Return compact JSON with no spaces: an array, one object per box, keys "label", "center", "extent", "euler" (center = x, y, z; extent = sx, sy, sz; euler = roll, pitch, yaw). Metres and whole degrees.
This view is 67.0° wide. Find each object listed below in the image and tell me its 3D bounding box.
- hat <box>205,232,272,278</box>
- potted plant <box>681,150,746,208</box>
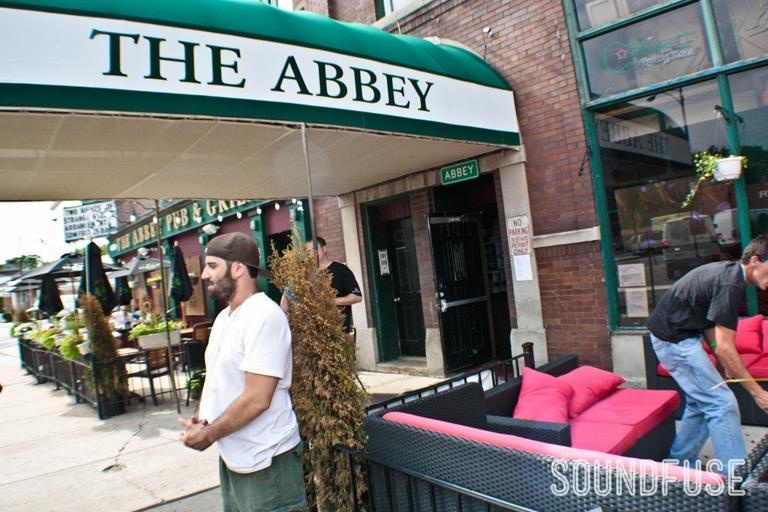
[{"label":"hat","center":[-1.198,-0.052,4.955],"extent":[0.589,0.308,0.402],"euler":[12,5,-5]},{"label":"potted plant","center":[4.430,-1.061,7.813],"extent":[0.373,0.810,0.763],"euler":[-7,-1,-31]}]
